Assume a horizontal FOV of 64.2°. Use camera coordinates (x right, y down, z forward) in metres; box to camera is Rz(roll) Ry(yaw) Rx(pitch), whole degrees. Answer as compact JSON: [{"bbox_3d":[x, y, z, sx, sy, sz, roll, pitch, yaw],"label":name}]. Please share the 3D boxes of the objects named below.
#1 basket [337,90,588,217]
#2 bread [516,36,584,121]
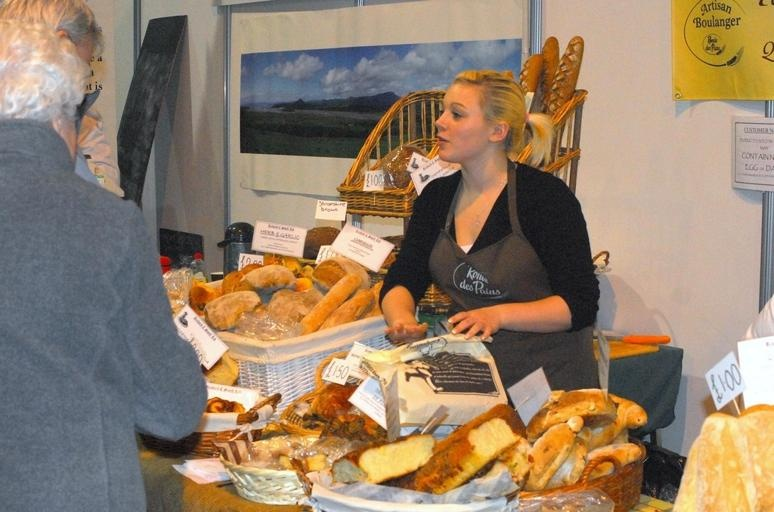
[{"bbox_3d":[0.316,-0.484,3.401,0.938,0.546,1.299,4,11,28],"label":"basket"},{"bbox_3d":[0.712,-0.785,2.674,0.075,0.409,0.239,24,-12,-39],"label":"bread"}]
